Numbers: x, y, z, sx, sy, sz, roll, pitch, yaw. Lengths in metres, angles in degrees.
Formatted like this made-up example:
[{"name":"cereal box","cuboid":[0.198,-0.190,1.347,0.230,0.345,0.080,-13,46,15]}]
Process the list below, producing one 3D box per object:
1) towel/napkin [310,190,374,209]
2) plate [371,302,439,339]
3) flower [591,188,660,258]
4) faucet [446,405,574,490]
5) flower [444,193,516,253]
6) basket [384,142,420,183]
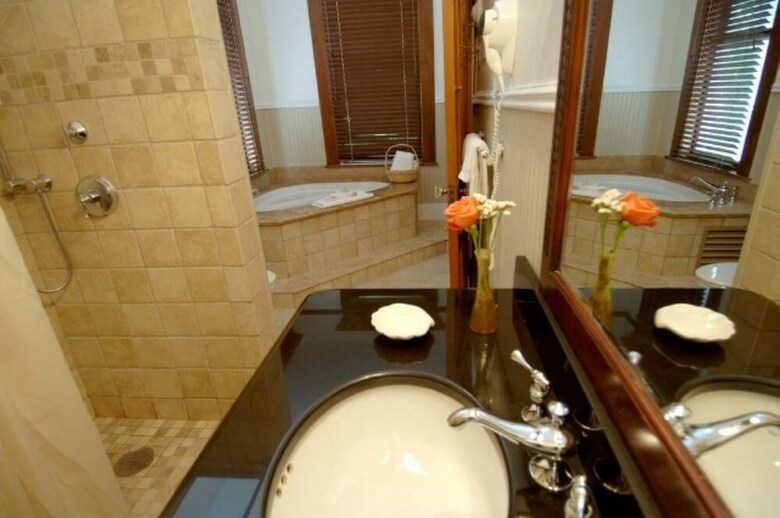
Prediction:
[{"name":"towel/napkin","cuboid":[-0.353,-0.444,3.981,0.291,0.044,0.214,-16,22,-31]},{"name":"plate","cuboid":[0.037,0.191,1.651,0.121,0.030,0.122,-6,23,-11]},{"name":"flower","cuboid":[0.517,-0.058,1.199,0.102,0.146,0.108,24,3,-24]},{"name":"faucet","cuboid":[0.269,0.407,1.321,0.343,0.232,0.138,2,15,18]},{"name":"flower","cuboid":[0.255,-0.074,1.582,0.198,0.226,0.160,-1,22,-5]},{"name":"basket","cuboid":[0.118,-0.857,4.751,0.275,0.338,0.377,1,15,19]}]
